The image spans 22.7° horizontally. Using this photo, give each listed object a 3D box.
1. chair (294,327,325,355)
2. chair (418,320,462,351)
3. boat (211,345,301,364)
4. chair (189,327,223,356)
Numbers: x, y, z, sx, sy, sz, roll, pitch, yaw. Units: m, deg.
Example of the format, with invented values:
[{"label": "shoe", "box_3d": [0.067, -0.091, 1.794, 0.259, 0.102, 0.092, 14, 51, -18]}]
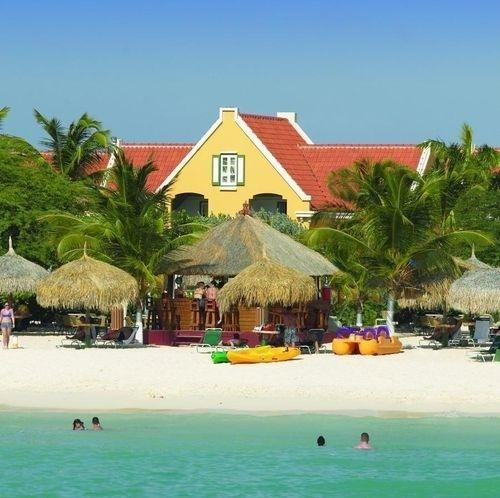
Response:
[{"label": "chair", "box_3d": [1.678, 2.515, 34.706, 0.677, 0.963, 0.707, -1, 20, -16]}, {"label": "chair", "box_3d": [5.883, 2.556, 37.059, 1.020, 0.781, 0.808, -4, -1, -15]}, {"label": "boat", "box_3d": [0.197, 2.735, 32.230, 2.307, 0.492, 0.752, -1, 6, -23]}, {"label": "chair", "box_3d": [-1.037, 2.525, 34.839, 0.526, 0.585, 1.039, 1, 8, 18]}]
